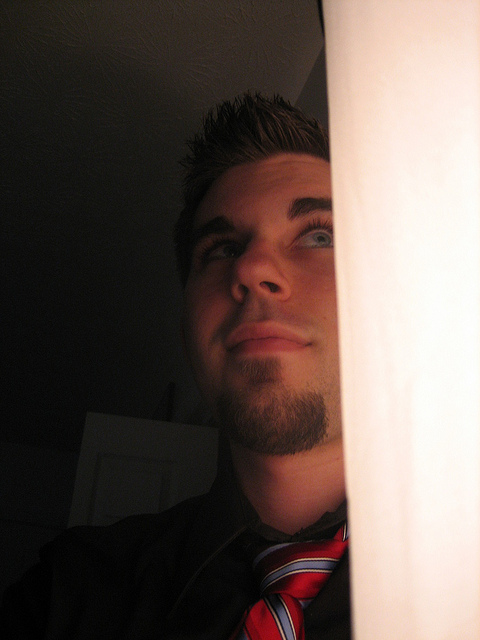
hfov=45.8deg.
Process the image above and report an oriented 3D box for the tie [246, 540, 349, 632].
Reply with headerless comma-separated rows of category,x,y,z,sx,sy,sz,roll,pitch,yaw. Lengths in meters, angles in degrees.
tie,0.069,0.308,0.664,0.115,0.078,0.116,-3,-7,10
